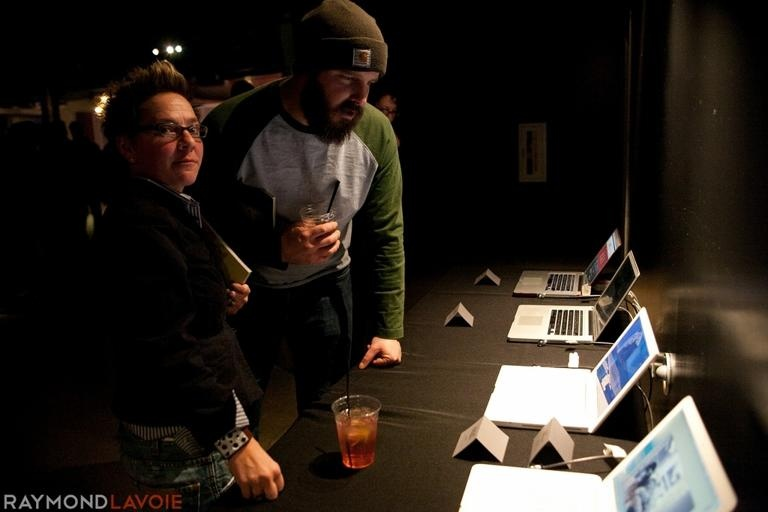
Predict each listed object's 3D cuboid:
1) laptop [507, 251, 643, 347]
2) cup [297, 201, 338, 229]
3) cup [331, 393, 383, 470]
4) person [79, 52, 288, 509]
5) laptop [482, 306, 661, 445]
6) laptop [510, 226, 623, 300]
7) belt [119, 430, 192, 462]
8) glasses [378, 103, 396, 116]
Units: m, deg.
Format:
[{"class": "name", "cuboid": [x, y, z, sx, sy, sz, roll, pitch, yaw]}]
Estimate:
[{"class": "laptop", "cuboid": [0.870, 0.251, 2.639, 0.499, 0.310, 0.494, 2, 17, 15]}, {"class": "cup", "cuboid": [-0.268, -0.154, 2.315, 0.133, 0.056, 0.106, 8, 37, 26]}, {"class": "cup", "cuboid": [-0.083, 0.532, 1.832, 0.145, 0.219, 0.193, -6, 22, -6]}, {"class": "person", "cuboid": [-0.670, 0.121, 1.811, 0.484, 1.368, 0.809, -10, 23, -15]}, {"class": "laptop", "cuboid": [0.629, 0.319, 1.980, 0.505, 0.305, 0.481, 6, 21, 19]}, {"class": "laptop", "cuboid": [1.016, -0.040, 3.266, 0.499, 0.300, 0.496, 3, 15, 14]}, {"class": "belt", "cuboid": [-0.709, 0.594, 1.828, 0.159, 0.036, 0.110, 3, 1, 5]}, {"class": "glasses", "cuboid": [0.037, -1.090, 4.310, 0.098, 0.031, 0.098, 3, 26, -29]}]
